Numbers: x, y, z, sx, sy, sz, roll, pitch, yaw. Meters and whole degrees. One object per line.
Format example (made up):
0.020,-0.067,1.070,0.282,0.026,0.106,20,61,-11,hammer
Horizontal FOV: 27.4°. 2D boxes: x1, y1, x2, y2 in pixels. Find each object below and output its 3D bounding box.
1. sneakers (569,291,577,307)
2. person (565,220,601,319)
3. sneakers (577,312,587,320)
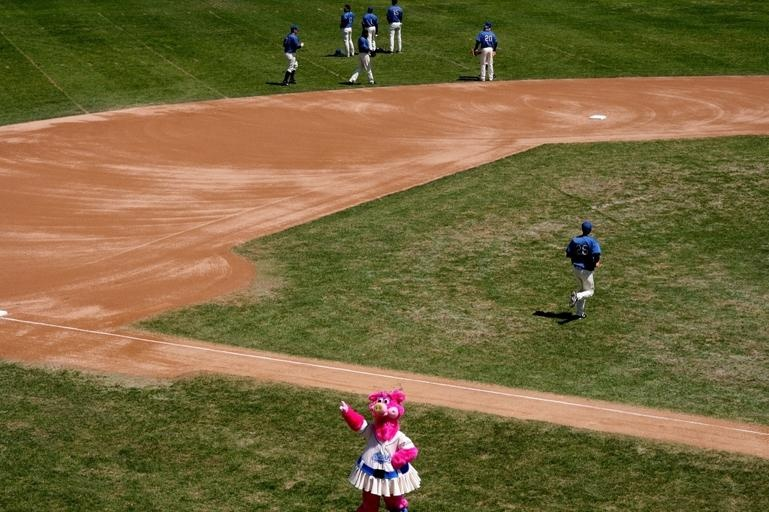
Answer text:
5.674,1.321,47.663,0.288,0.471,0.193,3,42,-13,sneakers
5.952,0.421,47.516,0.918,2.916,0.882,1,28,4,person
5.959,1.832,47.785,0.401,0.121,0.123,-8,25,-19,sneakers
